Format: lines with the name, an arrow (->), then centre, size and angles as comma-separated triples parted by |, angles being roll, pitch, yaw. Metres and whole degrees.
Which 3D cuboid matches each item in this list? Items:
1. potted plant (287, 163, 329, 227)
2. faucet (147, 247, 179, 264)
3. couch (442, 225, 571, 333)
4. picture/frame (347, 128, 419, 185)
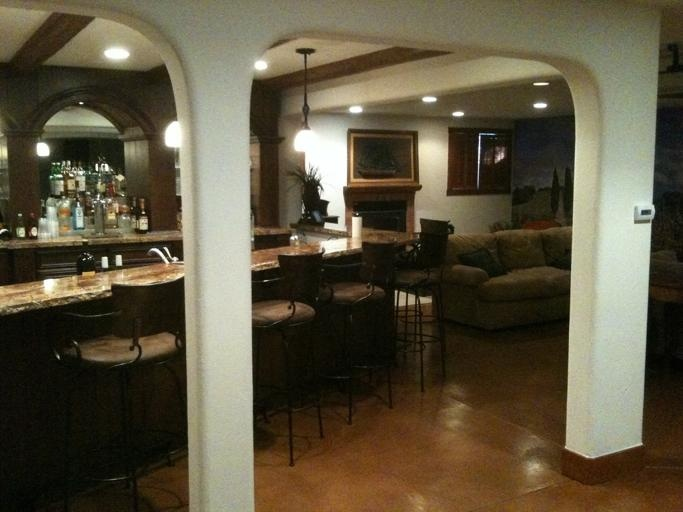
potted plant -> -0.394, -0.844, 7.587 | 0.468, 0.752, 0.735 | -6, 14, -30
faucet -> -1.575, 0.000, 4.829 | 0.138, 0.150, 0.448 | -2, 9, -26
couch -> 2.224, 0.211, 6.890 | 2.087, 0.972, 1.002 | -5, 13, -24
picture/frame -> 0.669, -1.581, 9.005 | 1.696, 0.955, 0.057 | -9, 13, -41
